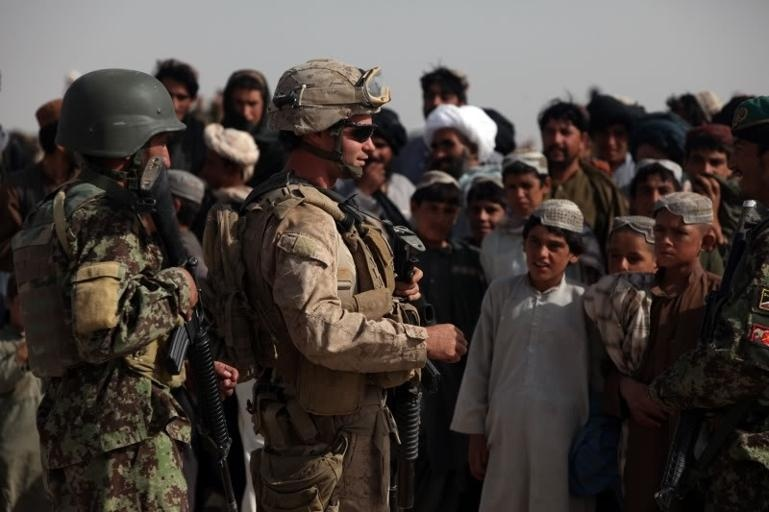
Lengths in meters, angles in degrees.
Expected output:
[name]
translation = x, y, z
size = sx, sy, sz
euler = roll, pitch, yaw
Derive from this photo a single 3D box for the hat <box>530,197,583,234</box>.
[hat]
translation = 1.221, -0.254, 7.593
size = 0.257, 0.159, 0.268
euler = 21, 3, 30
